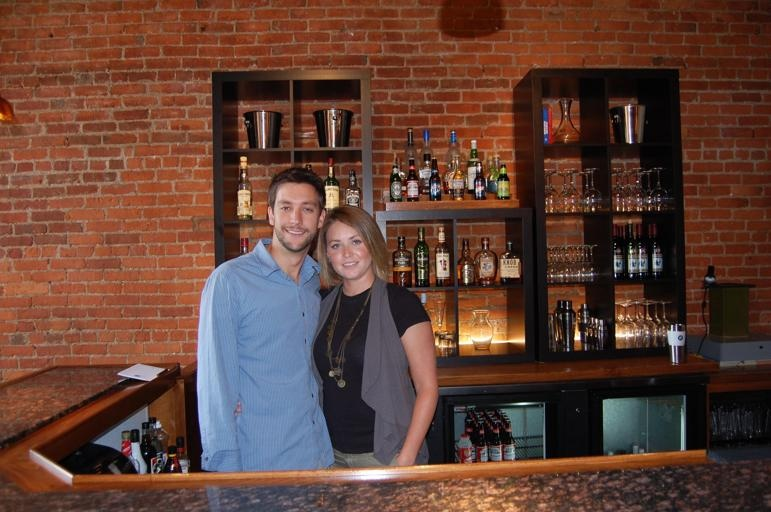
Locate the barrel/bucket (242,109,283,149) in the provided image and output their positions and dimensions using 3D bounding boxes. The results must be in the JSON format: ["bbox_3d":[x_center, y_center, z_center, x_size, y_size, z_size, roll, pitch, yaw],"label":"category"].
[{"bbox_3d":[-0.915,-0.902,5.318,0.278,0.211,0.292,0,-1,0],"label":"barrel/bucket"}]

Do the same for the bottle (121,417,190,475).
[{"bbox_3d":[-1.412,1.162,4.490,0.361,0.294,0.512,-2,1,-14],"label":"bottle"}]

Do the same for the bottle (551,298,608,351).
[{"bbox_3d":[1.448,0.525,5.477,0.388,0.338,0.198,0,-8,-8],"label":"bottle"}]

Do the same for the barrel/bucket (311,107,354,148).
[{"bbox_3d":[-0.389,-0.908,5.318,0.293,0.204,0.281,0,0,0],"label":"barrel/bucket"}]

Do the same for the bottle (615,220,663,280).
[{"bbox_3d":[1.881,-0.022,5.460,0.451,0.588,0.185,1,-5,-14],"label":"bottle"}]

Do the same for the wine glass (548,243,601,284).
[{"bbox_3d":[1.379,0.064,5.454,0.386,0.274,0.134,-2,1,-21],"label":"wine glass"}]

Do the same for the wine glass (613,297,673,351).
[{"bbox_3d":[1.920,0.512,5.491,0.323,0.140,0.430,0,5,9],"label":"wine glass"}]

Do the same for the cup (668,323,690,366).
[{"bbox_3d":[2.104,0.631,5.305,0.129,0.275,0.233,-2,1,19],"label":"cup"}]

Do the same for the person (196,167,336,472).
[{"bbox_3d":[-0.685,0.354,4.172,0.781,1.344,0.420,-2,1,-18],"label":"person"}]

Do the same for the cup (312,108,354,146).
[{"bbox_3d":[-0.384,-0.915,5.310,0.283,0.194,0.267,0,2,0],"label":"cup"}]

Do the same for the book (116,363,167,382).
[{"bbox_3d":[-1.515,0.724,4.545,0.278,0.089,0.263,-2,1,-14],"label":"book"}]

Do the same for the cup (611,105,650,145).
[{"bbox_3d":[1.897,-0.994,5.546,0.244,0.223,0.262,-13,8,2],"label":"cup"}]

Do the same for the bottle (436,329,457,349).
[{"bbox_3d":[0.441,0.613,5.364,0.138,0.123,0.117,1,1,2],"label":"bottle"}]

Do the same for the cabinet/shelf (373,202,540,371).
[{"bbox_3d":[0.501,0.237,5.526,1.148,1.025,0.364,-3,3,6],"label":"cabinet/shelf"}]

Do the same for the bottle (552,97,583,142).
[{"bbox_3d":[1.353,-1.008,5.562,0.244,0.338,0.244,-1,9,0],"label":"bottle"}]

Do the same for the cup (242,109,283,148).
[{"bbox_3d":[-0.886,-0.906,5.323,0.272,0.202,0.275,0,-2,0],"label":"cup"}]
